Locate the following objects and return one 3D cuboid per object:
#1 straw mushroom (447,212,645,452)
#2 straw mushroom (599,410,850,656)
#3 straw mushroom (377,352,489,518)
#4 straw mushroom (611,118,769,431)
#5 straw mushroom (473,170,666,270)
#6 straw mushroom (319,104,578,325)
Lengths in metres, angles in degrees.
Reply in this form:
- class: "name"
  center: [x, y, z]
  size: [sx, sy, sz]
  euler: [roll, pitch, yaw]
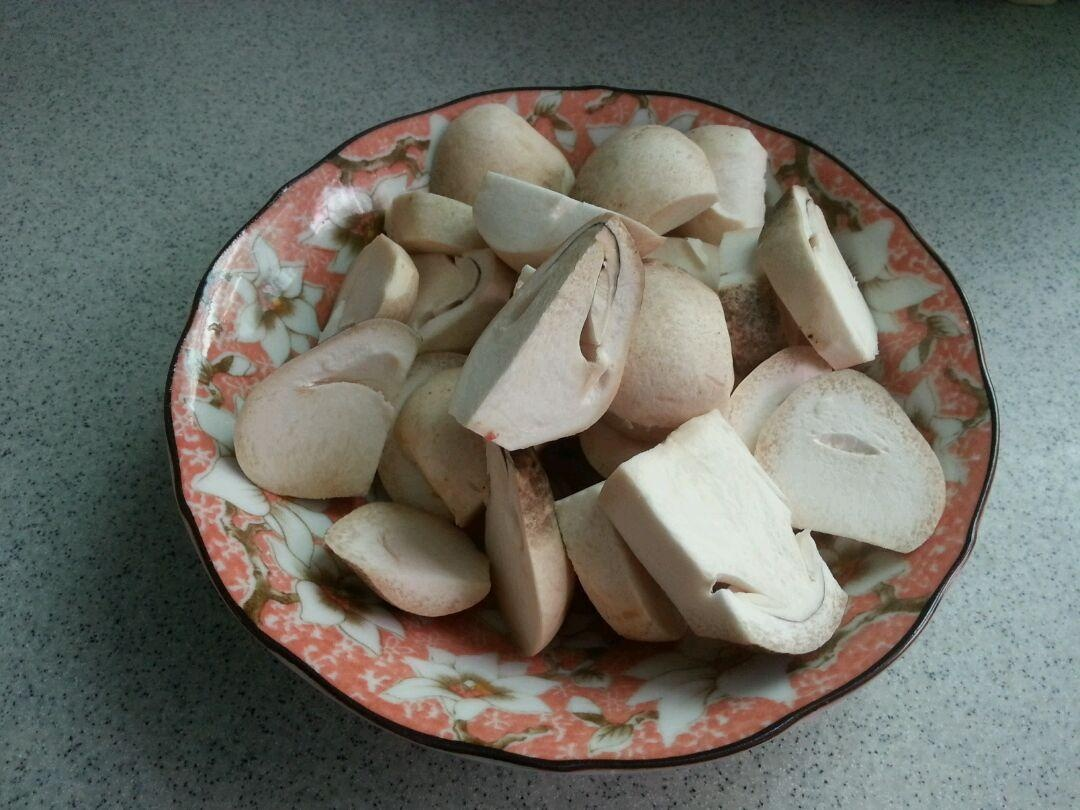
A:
- class: "straw mushroom"
  center: [0.018, -0.049, 0.940]
  size: [0.111, 0.199, 0.071]
  euler: [40, -4, 6]
- class: "straw mushroom"
  center: [0.146, 0.110, 0.931]
  size: [0.119, 0.199, 0.049]
  euler: [-36, -6, -2]
- class: "straw mushroom"
  center: [-0.083, 0.021, 0.993]
  size: [0.105, 0.123, 0.036]
  euler: [21, 15, 27]
- class: "straw mushroom"
  center: [0.106, -0.112, 1.130]
  size: [0.101, 0.230, 0.218]
  euler: [-14, 8, 44]
- class: "straw mushroom"
  center: [0.024, -0.161, 0.984]
  size: [0.116, 0.052, 0.083]
  euler: [15, 32, 10]
- class: "straw mushroom"
  center: [-0.067, -0.133, 1.156]
  size: [0.083, 0.225, 0.171]
  euler: [42, 7, -44]
